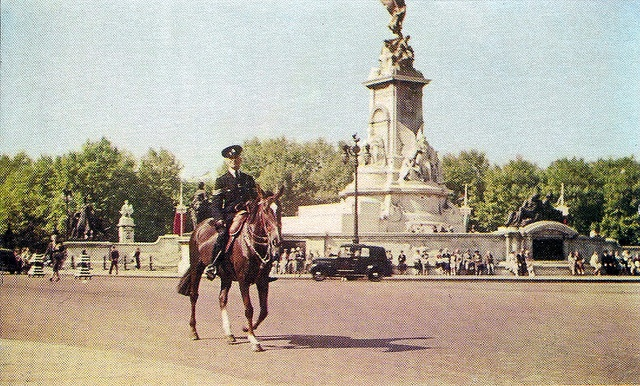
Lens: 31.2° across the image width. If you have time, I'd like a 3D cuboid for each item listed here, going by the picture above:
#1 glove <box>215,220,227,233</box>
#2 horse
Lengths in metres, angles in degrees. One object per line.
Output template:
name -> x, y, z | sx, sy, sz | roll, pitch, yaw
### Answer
glove -> -4.064, 1.347, 47.480 | 0.461, 0.444, 0.482 | 2, -15, -8
horse -> -3.505, 2.944, 47.661 | 3.689, 6.339, 3.241 | -1, 8, -13
